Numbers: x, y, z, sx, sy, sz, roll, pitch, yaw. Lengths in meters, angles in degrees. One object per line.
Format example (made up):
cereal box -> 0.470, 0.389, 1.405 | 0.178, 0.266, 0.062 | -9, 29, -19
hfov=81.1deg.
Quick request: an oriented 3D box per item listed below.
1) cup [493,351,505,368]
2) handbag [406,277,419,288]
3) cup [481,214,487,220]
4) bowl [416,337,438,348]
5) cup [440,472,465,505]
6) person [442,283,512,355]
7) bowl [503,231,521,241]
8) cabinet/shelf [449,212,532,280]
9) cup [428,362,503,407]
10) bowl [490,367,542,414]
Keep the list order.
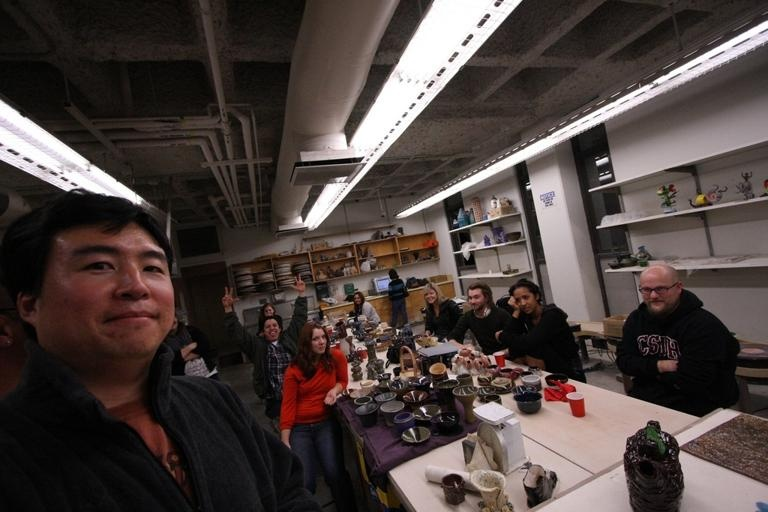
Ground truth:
cup -> 0.982, 0.872, 3.759 | 0.123, 0.101, 0.116 | -8, -9, -1
handbag -> 0.616, 0.582, 9.803 | 0.253, 0.207, 0.232 | 0, -3, -16
cup -> 1.740, -0.666, 7.796 | 0.096, 0.086, 0.166 | 0, 10, 8
bowl -> 0.415, 0.845, 4.357 | 0.140, 0.061, 0.181 | -2, -3, -1
cup -> 0.370, 1.285, 2.472 | 0.117, 0.100, 0.144 | -6, -3, -1
person -> 1.004, 0.673, 4.616 | 0.741, 0.751, 0.494 | -14, -19, 30
bowl -> 2.095, -0.305, 7.309 | 0.102, 0.131, 0.378 | -6, -5, -17
cabinet/shelf -> 1.941, -0.190, 7.995 | 0.292, 0.811, 1.401 | -16, -4, -18
cup -> 0.481, 0.901, 3.161 | 0.248, 0.108, 0.310 | -9, 5, -33
bowl -> 1.001, 0.903, 3.210 | 0.176, 0.065, 0.461 | -14, 8, 1
